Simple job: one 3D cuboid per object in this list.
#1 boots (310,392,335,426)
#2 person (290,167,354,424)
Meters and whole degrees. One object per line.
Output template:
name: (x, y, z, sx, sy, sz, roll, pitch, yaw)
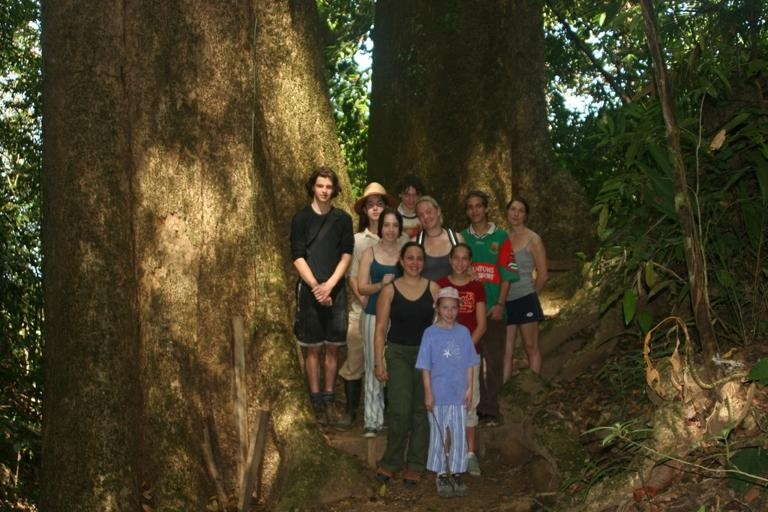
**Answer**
boots: (-0.778, 1.964, 11.604, 0.301, 0.408, 0.397, 2, -13, -16)
person: (-0.779, 0.491, 11.605, 0.819, 2.552, 0.645, -4, -2, -5)
